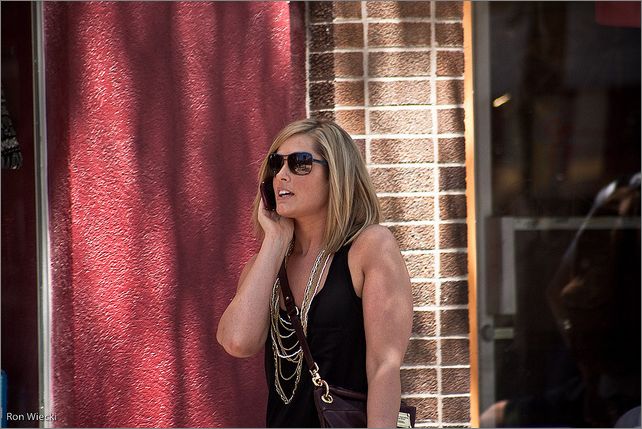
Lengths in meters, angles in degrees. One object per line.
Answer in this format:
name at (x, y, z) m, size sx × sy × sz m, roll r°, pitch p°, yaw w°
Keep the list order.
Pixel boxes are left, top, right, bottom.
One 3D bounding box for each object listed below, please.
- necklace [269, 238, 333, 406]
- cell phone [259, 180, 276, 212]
necklace at (-0.128, 0.624, 5.099) m, size 0.397 × 0.984 × 0.125 m, roll -9°, pitch -20°, yaw 37°
cell phone at (-0.341, -0.119, 5.365) m, size 0.039 × 0.162 × 0.164 m, roll -9°, pitch -3°, yaw 15°
